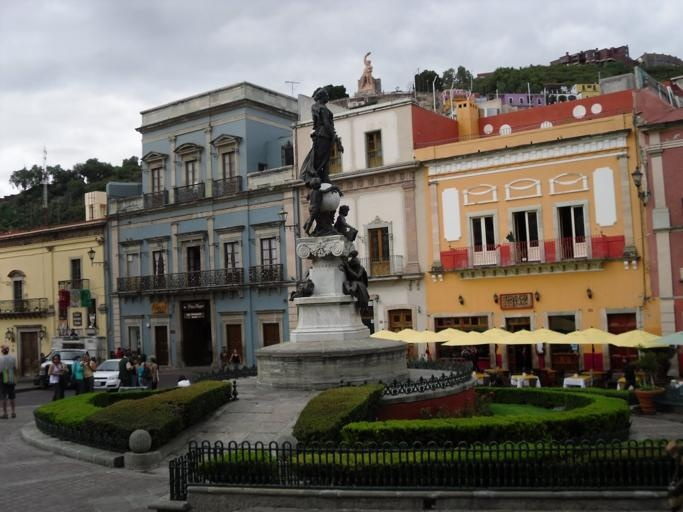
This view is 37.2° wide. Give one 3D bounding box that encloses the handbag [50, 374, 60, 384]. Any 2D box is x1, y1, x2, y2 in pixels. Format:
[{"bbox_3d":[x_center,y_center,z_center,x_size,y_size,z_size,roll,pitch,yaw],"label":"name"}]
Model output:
[{"bbox_3d":[-10.425,4.478,36.854,0.243,0.323,1.160,-1,-6,-22],"label":"handbag"}]
